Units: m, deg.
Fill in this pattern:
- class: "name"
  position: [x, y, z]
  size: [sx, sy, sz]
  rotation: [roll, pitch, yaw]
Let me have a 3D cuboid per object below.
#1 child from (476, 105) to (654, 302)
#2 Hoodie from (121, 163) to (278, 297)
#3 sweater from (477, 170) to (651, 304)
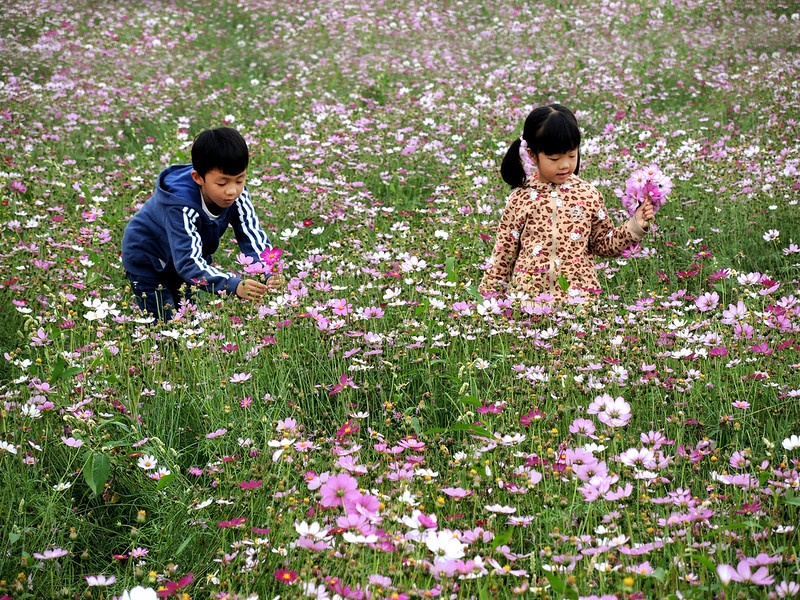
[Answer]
- class: "child"
  position: [0.974, -0.352, 4.805]
  size: [0.906, 1.622, 0.501]
  rotation: [3, 24, 13]
- class: "Hoodie"
  position: [-1.192, -0.415, 4.819]
  size: [0.893, 0.760, 0.656]
  rotation: [23, 27, 28]
- class: "sweater"
  position: [0.965, -0.345, 4.705]
  size: [0.777, 0.777, 0.360]
  rotation: [7, 1, 0]
